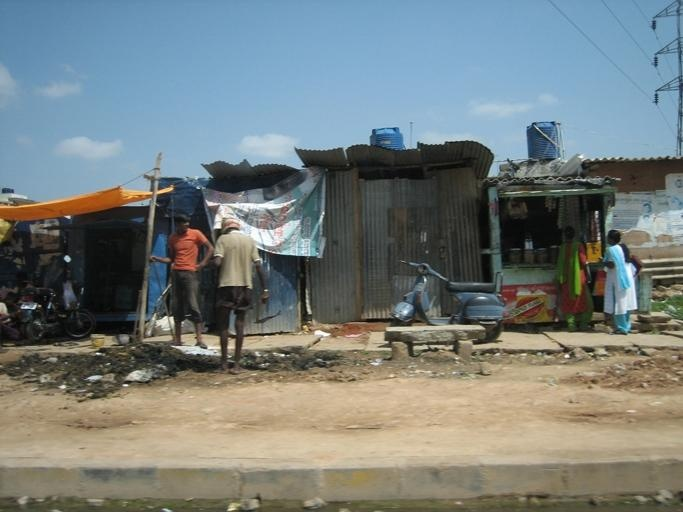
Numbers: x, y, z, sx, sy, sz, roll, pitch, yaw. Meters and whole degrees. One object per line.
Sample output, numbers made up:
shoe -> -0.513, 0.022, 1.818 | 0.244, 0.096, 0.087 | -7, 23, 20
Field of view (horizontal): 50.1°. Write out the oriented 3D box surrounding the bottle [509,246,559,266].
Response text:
bottle -> 3.532, -0.028, 13.436 | 0.878, 0.321, 0.380 | 1, 11, 6

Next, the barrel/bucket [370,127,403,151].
barrel/bucket -> 1.038, -2.663, 16.477 | 0.660, 0.415, 0.391 | -1, 12, -6

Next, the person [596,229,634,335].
person -> 4.790, 0.574, 12.407 | 0.563, 1.514, 0.679 | 0, 13, 1

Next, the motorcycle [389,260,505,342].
motorcycle -> 1.864, 0.716, 12.055 | 1.644, 1.280, 2.095 | 3, 10, 14

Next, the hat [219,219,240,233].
hat -> -1.631, -0.462, 10.399 | 0.307, 0.240, 0.245 | 2, -8, -2

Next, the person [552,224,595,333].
person -> 4.159, 0.526, 12.925 | 0.569, 1.550, 0.672 | -1, 14, -2

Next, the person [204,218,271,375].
person -> -1.410, 0.577, 10.251 | 0.726, 2.152, 0.852 | -2, 14, -6
